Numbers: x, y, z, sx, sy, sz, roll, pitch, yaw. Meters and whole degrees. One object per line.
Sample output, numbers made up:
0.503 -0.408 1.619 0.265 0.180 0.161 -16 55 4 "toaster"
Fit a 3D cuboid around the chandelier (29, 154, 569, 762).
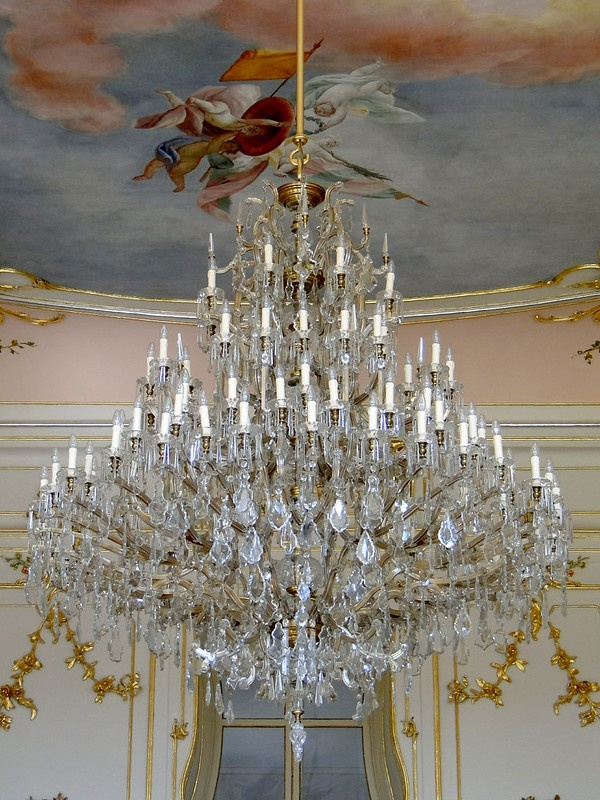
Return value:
-0.027 -0.105 3.465 1.263 1.392 1.240 -10 21 -35 "chandelier"
